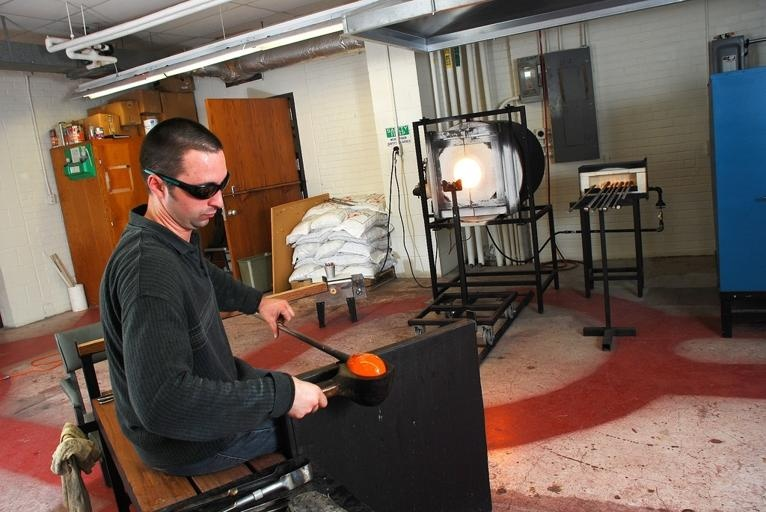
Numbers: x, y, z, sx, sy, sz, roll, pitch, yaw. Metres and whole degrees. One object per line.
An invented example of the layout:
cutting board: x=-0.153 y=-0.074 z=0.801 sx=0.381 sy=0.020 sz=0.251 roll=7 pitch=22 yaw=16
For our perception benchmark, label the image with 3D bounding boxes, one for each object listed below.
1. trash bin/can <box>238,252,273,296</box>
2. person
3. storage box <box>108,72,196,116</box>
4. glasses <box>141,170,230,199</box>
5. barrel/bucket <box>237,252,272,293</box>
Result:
trash bin/can: x=-1.637 y=0.201 z=6.713 sx=0.374 sy=0.507 sz=0.607 roll=3 pitch=10 yaw=29
person: x=-0.937 y=0.191 z=2.482 sx=0.880 sy=1.681 sz=0.925 roll=-11 pitch=14 yaw=-16
storage box: x=-3.658 y=-2.558 z=8.187 sx=0.549 sy=0.574 sz=0.979 roll=-8 pitch=9 yaw=-37
glasses: x=-0.931 y=-0.347 z=2.482 sx=0.247 sy=0.057 sz=0.192 roll=16 pitch=15 yaw=3
barrel/bucket: x=-1.688 y=0.191 z=6.863 sx=0.366 sy=0.496 sz=0.584 roll=4 pitch=10 yaw=28
